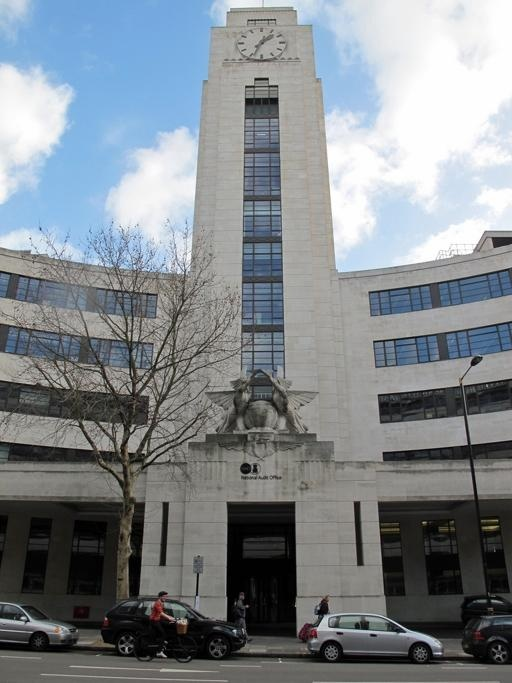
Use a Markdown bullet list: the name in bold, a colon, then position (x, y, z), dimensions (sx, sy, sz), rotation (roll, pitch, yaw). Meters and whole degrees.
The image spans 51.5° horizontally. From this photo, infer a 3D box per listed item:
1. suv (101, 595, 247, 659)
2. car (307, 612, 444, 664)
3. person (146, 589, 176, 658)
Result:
- **suv**: position (-2.015, 7.098, 13.325), dimensions (3.207, 1.309, 1.528), rotation (-3, -39, 5)
- **car**: position (2.830, 7.545, 13.391), dimensions (3.007, 1.068, 1.359), rotation (-2, -35, 3)
- **person**: position (-2.105, 6.356, 11.933), dimensions (0.568, 1.355, 1.627), rotation (4, -27, -8)
